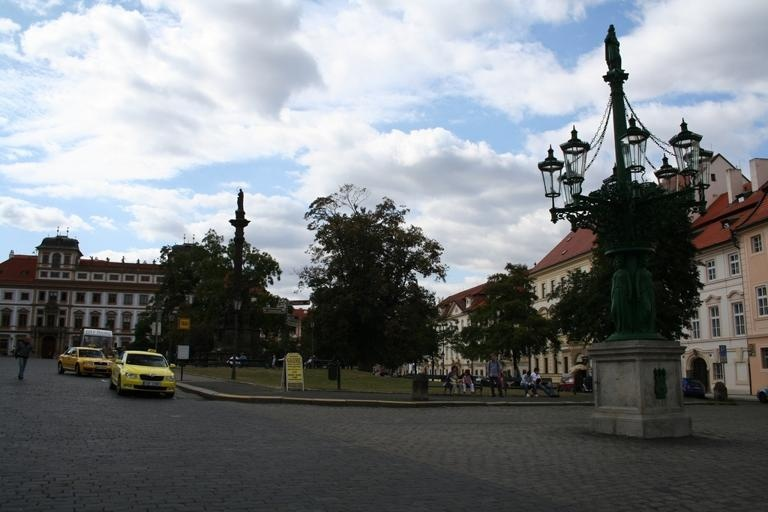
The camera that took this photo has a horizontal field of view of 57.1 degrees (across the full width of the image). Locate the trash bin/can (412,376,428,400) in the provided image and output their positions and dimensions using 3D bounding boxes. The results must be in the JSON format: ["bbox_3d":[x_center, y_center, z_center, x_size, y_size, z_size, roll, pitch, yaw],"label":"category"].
[{"bbox_3d":[1.466,5.211,27.962,0.542,1.021,0.710,1,-12,0],"label":"trash bin/can"}]

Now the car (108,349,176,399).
[{"bbox_3d":[-9.502,4.532,27.413,1.473,1.092,3.376,7,-12,-26],"label":"car"}]

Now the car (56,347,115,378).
[{"bbox_3d":[-16.975,5.953,39.681,2.033,1.342,4.383,7,-11,-36],"label":"car"}]
